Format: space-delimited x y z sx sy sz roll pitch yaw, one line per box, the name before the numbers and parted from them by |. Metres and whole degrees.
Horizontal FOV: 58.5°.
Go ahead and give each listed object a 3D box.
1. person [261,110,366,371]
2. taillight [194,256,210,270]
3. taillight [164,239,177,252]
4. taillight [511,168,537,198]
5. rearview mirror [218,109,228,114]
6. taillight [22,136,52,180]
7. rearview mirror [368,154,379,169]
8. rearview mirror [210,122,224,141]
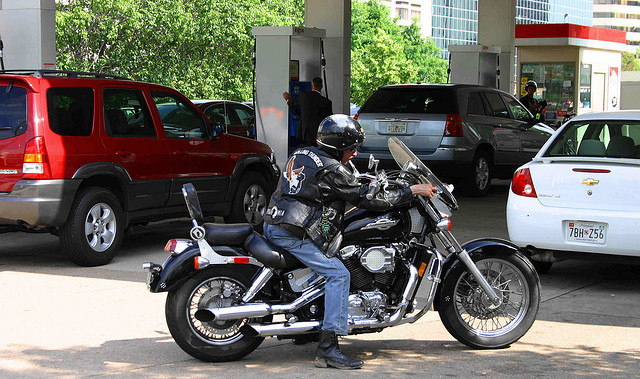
person | -0.030 0.492 5.634 0.930 2.425 0.915 0 10 2
taillight | -1.114 0.688 5.388 0.137 0.099 0.069 1 -3 -2
taillight | -1.429 0.550 5.488 0.100 0.131 0.190 -2 10 -14
taillight | 2.781 -0.095 7.819 0.246 0.385 0.124 4 3 25
rearview mirror | -2.872 -2.283 16.720 0.172 0.162 0.042 1 -17 -16
taillight | -4.145 -0.457 8.340 0.389 0.624 0.154 -3 10 -17
rearview mirror | 0.486 -0.233 5.319 0.136 0.065 0.185 -2 28 6
rearview mirror | -1.880 -1.055 10.373 0.250 0.307 0.196 -2 10 -10
